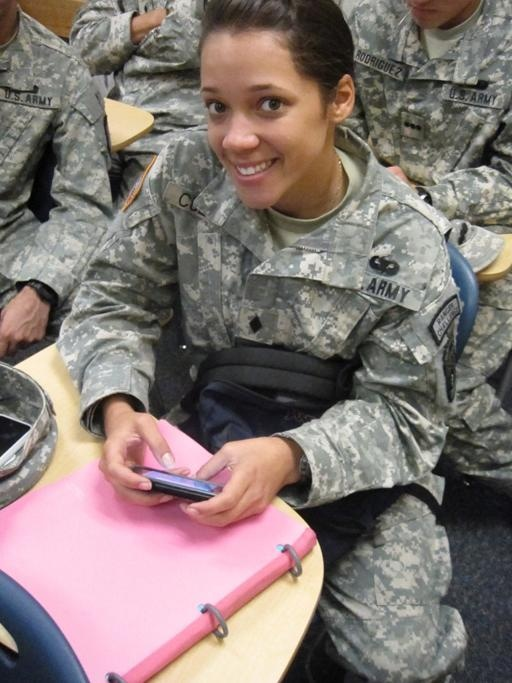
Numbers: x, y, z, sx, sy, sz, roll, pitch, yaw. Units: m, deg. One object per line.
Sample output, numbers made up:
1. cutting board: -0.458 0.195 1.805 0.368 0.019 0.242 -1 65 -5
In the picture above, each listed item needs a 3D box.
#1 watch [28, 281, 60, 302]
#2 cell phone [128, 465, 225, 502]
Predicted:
1. watch: -0.551 -0.132 1.573 0.025 0.066 0.050 -56 16 -22
2. cell phone: -0.094 0.158 0.715 0.085 0.018 0.042 14 10 3
